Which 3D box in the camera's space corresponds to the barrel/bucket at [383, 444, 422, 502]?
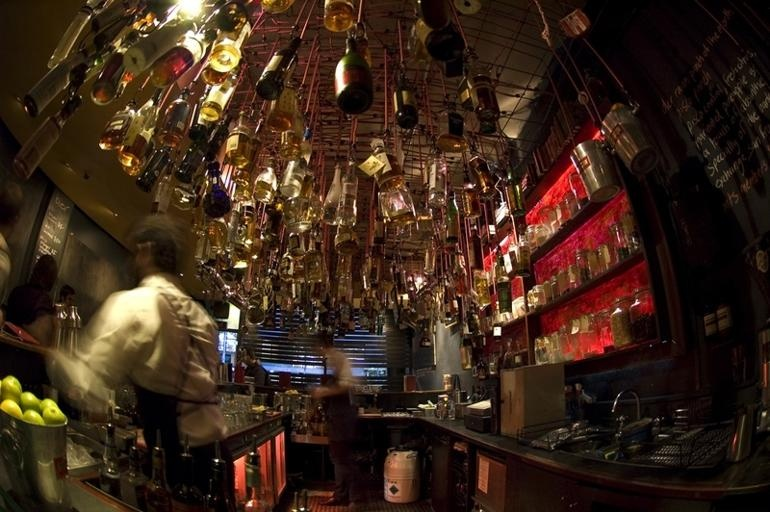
[{"bbox_3d":[0.200,2.726,5.926,0.503,0.777,0.540,1,-27,1],"label":"barrel/bucket"}]
